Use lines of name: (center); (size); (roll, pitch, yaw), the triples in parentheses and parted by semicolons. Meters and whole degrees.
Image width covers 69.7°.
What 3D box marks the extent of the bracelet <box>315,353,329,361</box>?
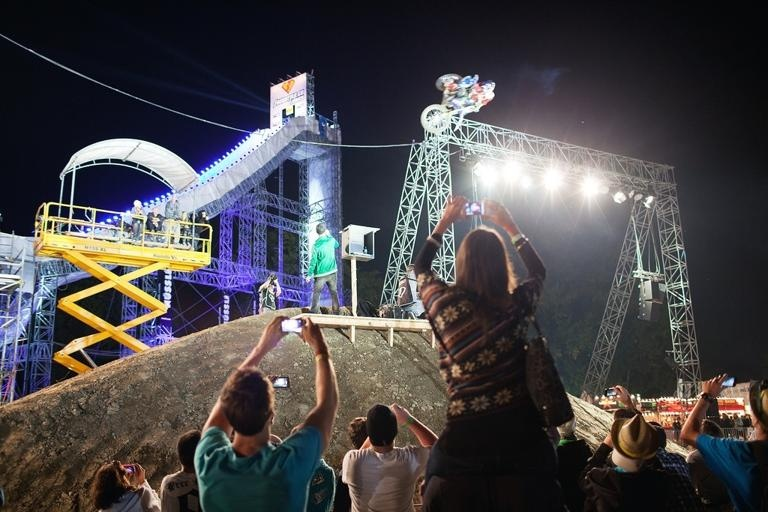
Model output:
bracelet: (-0.591, 0.952, 5.238); (0.077, 0.050, 0.079); (0, -7, 9)

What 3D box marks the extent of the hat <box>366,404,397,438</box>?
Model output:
hat: (0.012, 2.019, 6.837); (0.304, 0.433, 0.426); (1, 4, 6)

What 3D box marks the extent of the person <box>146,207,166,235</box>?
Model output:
person: (-8.395, -1.273, 20.255); (0.650, 0.930, 1.574); (5, 0, -23)

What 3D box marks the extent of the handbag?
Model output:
handbag: (1.550, 1.199, 5.234); (0.206, 0.781, 0.557); (-16, -23, 23)

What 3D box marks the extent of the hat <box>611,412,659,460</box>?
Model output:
hat: (2.685, 1.928, 5.933); (0.472, 0.476, 0.357); (5, 0, 28)

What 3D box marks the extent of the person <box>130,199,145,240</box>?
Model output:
person: (-8.904, -1.273, 19.904); (0.396, 1.490, 1.490); (5, 0, -24)
